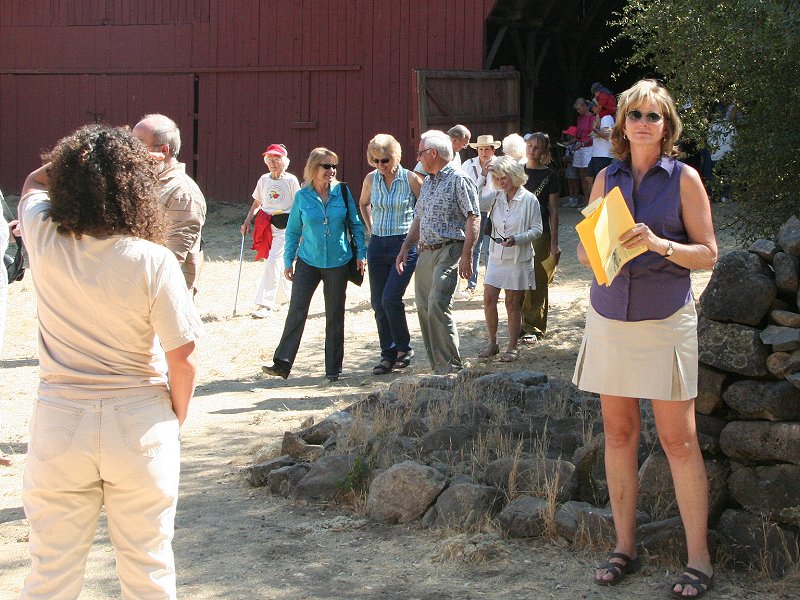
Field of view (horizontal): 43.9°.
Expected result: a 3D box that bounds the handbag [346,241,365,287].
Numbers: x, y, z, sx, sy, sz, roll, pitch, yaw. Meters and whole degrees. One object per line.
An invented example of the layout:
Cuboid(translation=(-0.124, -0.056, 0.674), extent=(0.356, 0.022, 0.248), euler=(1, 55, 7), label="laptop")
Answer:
Cuboid(translation=(-0.419, -0.326, 9.191), extent=(0.191, 0.317, 0.223), euler=(0, 6, -3), label="handbag")

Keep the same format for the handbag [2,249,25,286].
Cuboid(translation=(-2.765, -0.221, 7.133), extent=(0.150, 0.263, 0.104), euler=(-1, 9, -21), label="handbag")

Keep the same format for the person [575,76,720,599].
Cuboid(translation=(1.251, 0.164, 5.098), extent=(0.687, 2.515, 0.663), euler=(0, 10, 19), label="person")

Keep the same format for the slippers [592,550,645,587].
Cuboid(translation=(1.102, 1.365, 5.129), extent=(0.106, 0.113, 0.282), euler=(12, 15, 38), label="slippers")

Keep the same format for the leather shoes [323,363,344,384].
Cuboid(translation=(-0.624, 0.681, 9.310), extent=(0.143, 0.178, 0.155), euler=(1, -2, 0), label="leather shoes")

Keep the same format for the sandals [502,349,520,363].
Cuboid(translation=(1.020, 0.520, 9.159), extent=(0.065, 0.149, 0.204), euler=(1, -17, 22), label="sandals")

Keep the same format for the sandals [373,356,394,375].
Cuboid(translation=(-0.159, 0.625, 9.345), extent=(0.098, 0.109, 0.234), euler=(-2, -5, 16), label="sandals")
